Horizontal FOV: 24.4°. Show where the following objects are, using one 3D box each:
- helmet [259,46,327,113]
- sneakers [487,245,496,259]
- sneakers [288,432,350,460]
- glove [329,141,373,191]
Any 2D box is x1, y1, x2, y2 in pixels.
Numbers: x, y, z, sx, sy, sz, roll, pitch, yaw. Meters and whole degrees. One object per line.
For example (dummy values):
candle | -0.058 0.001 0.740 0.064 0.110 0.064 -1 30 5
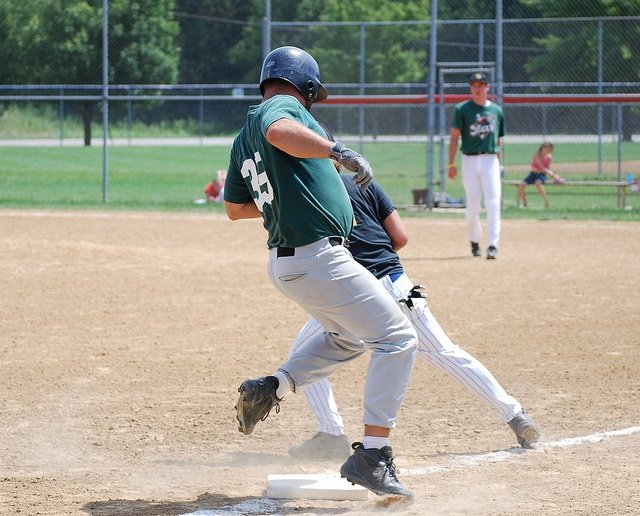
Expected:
helmet | -0.241 -1.658 13.261 0.442 0.452 0.608 -3 -19 45
sneakers | 2.034 -0.084 17.485 0.137 0.170 0.377 0 -4 7
sneakers | 0.016 1.745 13.682 0.626 0.259 0.219 2 -7 -4
glove | 0.286 -0.822 12.803 0.433 0.334 0.142 41 -6 -6
